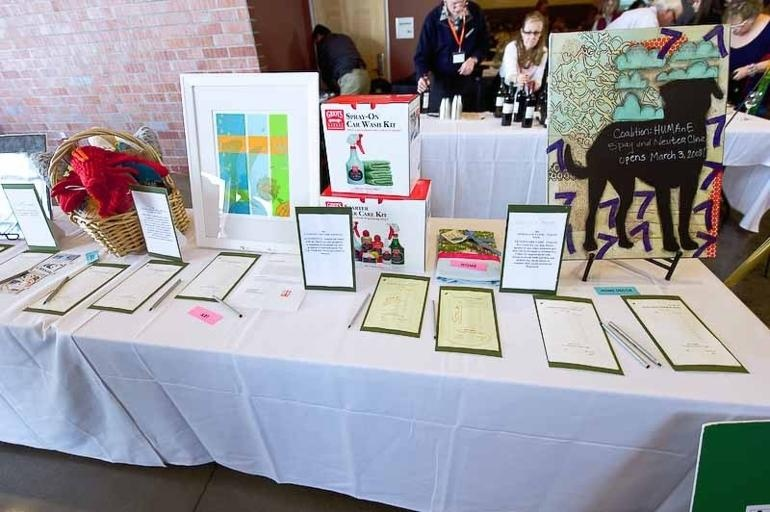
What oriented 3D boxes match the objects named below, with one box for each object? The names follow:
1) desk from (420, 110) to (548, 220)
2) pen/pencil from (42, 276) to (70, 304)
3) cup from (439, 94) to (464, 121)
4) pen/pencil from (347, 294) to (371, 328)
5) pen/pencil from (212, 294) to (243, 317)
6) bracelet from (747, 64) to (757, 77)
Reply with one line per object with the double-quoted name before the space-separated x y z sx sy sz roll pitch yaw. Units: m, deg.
"desk" 0.904 -0.564 3.617 0.555 0.605 0.953 -1 9 -25
"pen/pencil" -1.418 0.150 2.146 0.022 0.020 0.183 18 39 1
"cup" 0.490 -1.134 3.818 0.173 0.237 0.193 11 41 13
"pen/pencil" -0.109 0.234 2.045 0.015 0.015 0.152 23 48 8
"pen/pencil" -0.664 0.215 2.082 0.136 0.017 0.017 32 34 25
"bracelet" 2.883 -1.468 3.924 0.064 0.086 0.048 18 34 31
